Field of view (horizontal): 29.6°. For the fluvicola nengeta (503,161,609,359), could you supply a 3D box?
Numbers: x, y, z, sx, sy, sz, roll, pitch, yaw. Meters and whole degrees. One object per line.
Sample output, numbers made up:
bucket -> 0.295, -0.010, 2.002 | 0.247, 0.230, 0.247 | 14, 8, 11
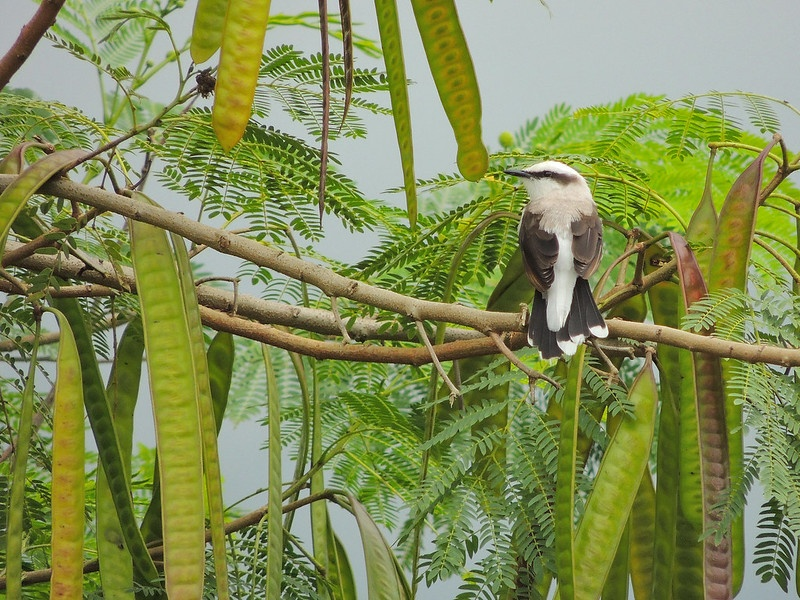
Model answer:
fluvicola nengeta -> 0.386, -0.179, 3.942 | 0.239, 0.155, 0.491 | -8, -32, 5
